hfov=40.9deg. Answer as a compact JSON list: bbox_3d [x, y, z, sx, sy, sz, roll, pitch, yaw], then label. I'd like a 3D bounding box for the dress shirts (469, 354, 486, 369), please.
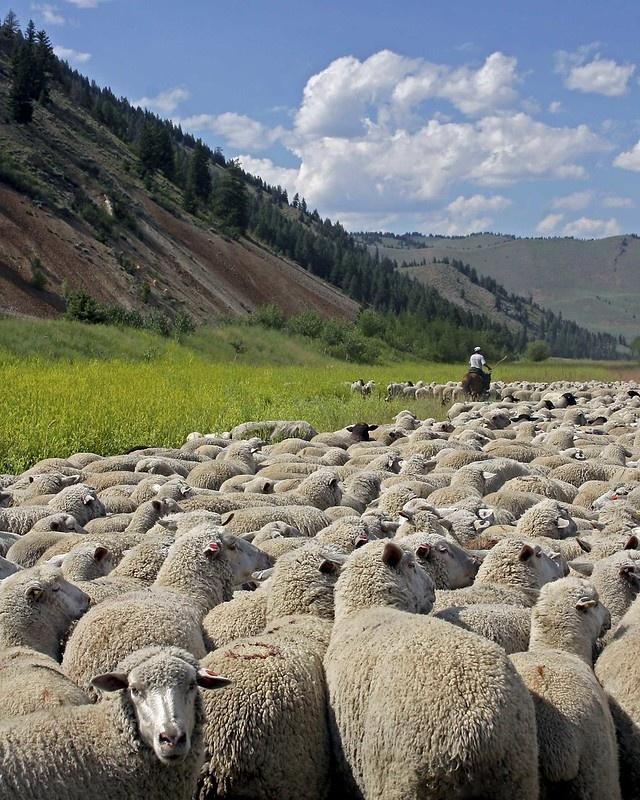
[{"bbox_3d":[5.903,-1.427,32.295,0.437,0.533,0.794,13,12,18],"label":"dress shirts"}]
